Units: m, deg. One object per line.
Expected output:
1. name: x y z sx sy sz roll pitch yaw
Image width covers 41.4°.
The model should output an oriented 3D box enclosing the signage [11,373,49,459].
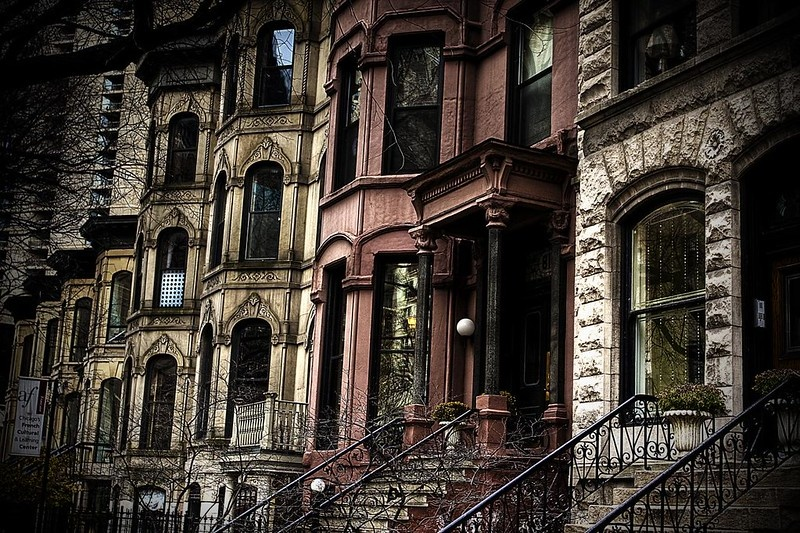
1. signage: -6.360 2.528 18.229 0.504 1.382 1.352 8 -17 -19

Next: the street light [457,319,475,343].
1. street light: 1.235 1.235 20.415 0.341 0.426 0.352 -5 -30 -15
